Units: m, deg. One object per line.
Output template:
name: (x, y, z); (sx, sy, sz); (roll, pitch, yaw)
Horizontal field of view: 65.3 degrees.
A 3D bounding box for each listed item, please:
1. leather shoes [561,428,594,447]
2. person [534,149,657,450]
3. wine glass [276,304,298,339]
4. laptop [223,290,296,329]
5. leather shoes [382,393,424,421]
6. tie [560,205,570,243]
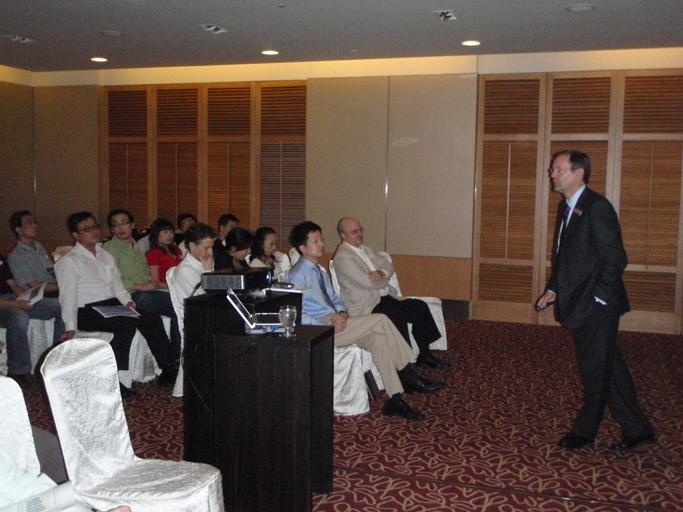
leather shoes: (1.519, 1.178, 3.437); (0.207, 0.079, 0.101); (-5, 5, 0)
person: (1.658, 0.275, 3.417); (0.741, 1.894, 0.453); (5, 10, 31)
wine glass: (-0.269, 0.325, 2.695); (0.123, 0.189, 0.134); (0, -4, -4)
laptop: (-0.404, 0.310, 2.768); (0.252, 0.147, 0.247); (-2, 5, -4)
leather shoes: (0.419, 1.087, 3.868); (0.368, 0.185, 0.124); (-1, 0, 19)
tie: (1.483, -0.213, 3.510); (0.030, 0.253, 0.035); (-13, 33, -27)
